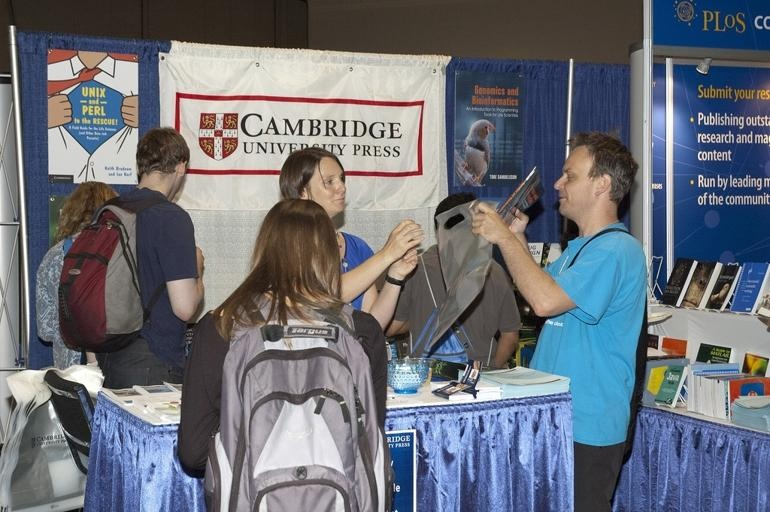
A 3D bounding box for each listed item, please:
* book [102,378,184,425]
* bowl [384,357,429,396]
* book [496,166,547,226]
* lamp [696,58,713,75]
[{"bbox_3d":[-1.232,0.751,4.272,0.402,0.065,0.536,-1,9,-20],"label":"book"},{"bbox_3d":[0.120,0.650,4.466,0.228,0.163,0.229,5,-19,2],"label":"bowl"},{"bbox_3d":[0.773,-0.352,4.737,0.115,0.364,0.268,37,26,-4],"label":"book"},{"bbox_3d":[2.293,-1.360,5.966,0.119,0.103,0.141,0,8,-11],"label":"lamp"}]
